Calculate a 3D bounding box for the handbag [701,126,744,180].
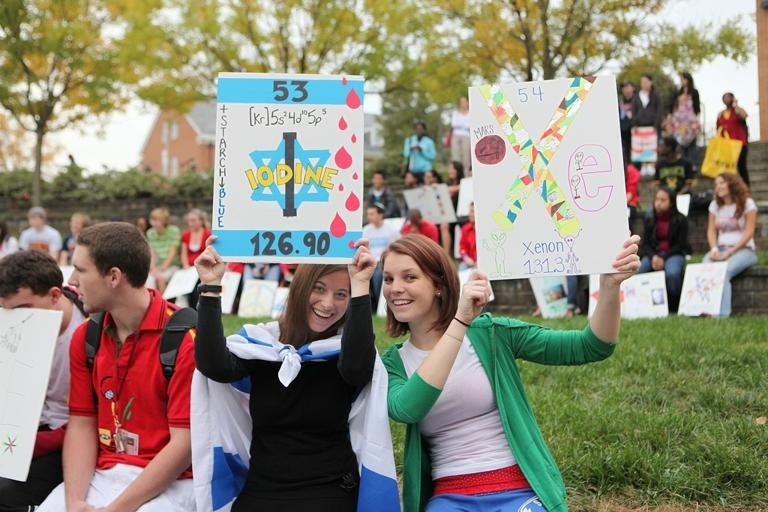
[{"bbox_3d":[4.400,-1.361,12.528,0.482,0.221,0.667,18,-31,29],"label":"handbag"}]
